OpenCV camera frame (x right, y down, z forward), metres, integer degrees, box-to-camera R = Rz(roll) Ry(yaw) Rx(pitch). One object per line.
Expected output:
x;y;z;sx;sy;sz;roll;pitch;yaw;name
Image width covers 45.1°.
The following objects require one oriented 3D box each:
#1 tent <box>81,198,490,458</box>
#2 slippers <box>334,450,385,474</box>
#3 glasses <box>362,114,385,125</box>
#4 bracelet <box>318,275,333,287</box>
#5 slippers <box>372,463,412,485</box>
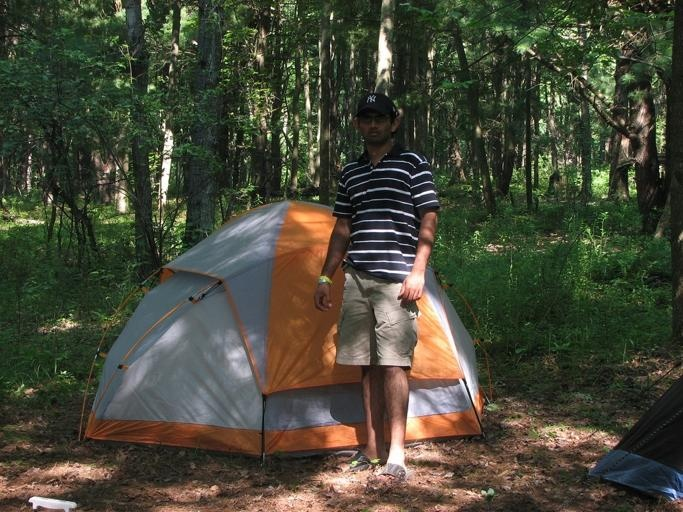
-0.612;0.955;10.847;3.676;2.125;3.228;-1;7;6;tent
0.229;2.486;9.829;0.409;0.159;0.235;-4;2;13;slippers
0.365;-1.614;9.635;0.144;0.158;0.047;-16;-25;-7;glasses
-0.203;0.303;9.883;0.152;0.116;0.180;1;0;0;bracelet
0.601;2.523;9.633;0.447;0.242;0.264;0;7;0;slippers
